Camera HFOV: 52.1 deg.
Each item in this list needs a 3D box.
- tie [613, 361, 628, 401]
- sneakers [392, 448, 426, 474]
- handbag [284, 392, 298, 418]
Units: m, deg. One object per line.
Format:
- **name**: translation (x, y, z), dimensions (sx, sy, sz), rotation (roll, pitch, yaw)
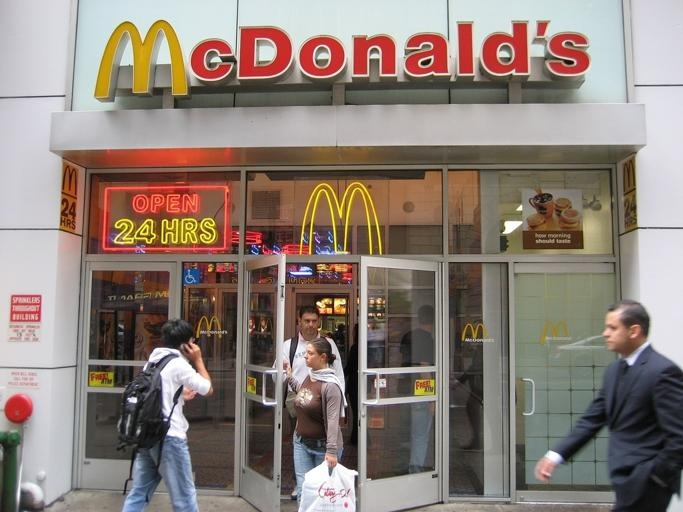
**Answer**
- **tie**: translation (2.274, 1.009, 5.700), dimensions (0.063, 0.248, 0.179), rotation (5, -10, 0)
- **sneakers**: translation (0.770, 2.341, 7.975), dimensions (0.377, 0.261, 0.084), rotation (3, -14, -22)
- **handbag**: translation (-0.506, 1.491, 6.998), dimensions (0.142, 0.208, 0.204), rotation (0, -24, -8)
